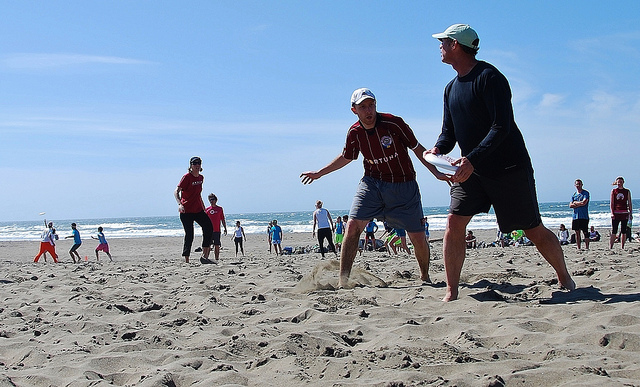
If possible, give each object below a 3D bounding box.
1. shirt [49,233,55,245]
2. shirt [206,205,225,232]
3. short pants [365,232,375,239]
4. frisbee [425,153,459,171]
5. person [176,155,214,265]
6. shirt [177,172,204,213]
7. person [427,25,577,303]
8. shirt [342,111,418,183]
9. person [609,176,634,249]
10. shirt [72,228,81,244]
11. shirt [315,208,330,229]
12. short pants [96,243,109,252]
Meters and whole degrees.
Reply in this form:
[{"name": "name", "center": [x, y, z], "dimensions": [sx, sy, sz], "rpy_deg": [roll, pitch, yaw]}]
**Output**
[{"name": "shirt", "center": [-7.984, 1.336, 17.305], "dimensions": [0.112, 0.098, 0.574], "rpy_deg": [-11, 42, -5]}, {"name": "shirt", "center": [-2.648, 0.637, 14.736], "dimensions": [0.368, 0.676, 0.759], "rpy_deg": [-4, 1, -12]}, {"name": "short pants", "center": [1.391, 1.168, 16.237], "dimensions": [0.402, 0.178, 0.496], "rpy_deg": [-2, -5, 7]}, {"name": "frisbee", "center": [1.289, -0.346, 6.210], "dimensions": [0.212, 0.176, 0.454], "rpy_deg": [-4, 1, -11]}, {"name": "person", "center": [-2.482, 0.379, 11.518], "dimensions": [0.890, 2.177, 0.732], "rpy_deg": [-3, -3, -38]}, {"name": "shirt", "center": [-2.527, -0.021, 11.403], "dimensions": [0.483, 0.801, 0.314], "rpy_deg": [-4, 1, -24]}, {"name": "person", "center": [1.831, -0.336, 6.270], "dimensions": [1.302, 2.645, 0.939], "rpy_deg": [-3, 1, 17]}, {"name": "shirt", "center": [0.755, -0.566, 7.348], "dimensions": [1.133, 0.966, 0.396], "rpy_deg": [-9, 24, 22]}, {"name": "person", "center": [6.698, 0.459, 12.976], "dimensions": [0.464, 1.329, 2.088], "rpy_deg": [-3, 1, 27]}, {"name": "shirt", "center": [-8.003, 1.391, 19.077], "dimensions": [0.208, 0.504, 1.591], "rpy_deg": [-4, 1, -22]}, {"name": "shirt", "center": [0.060, 0.653, 15.198], "dimensions": [0.339, 0.499, 0.560], "rpy_deg": [-4, 1, -1]}, {"name": "short pants", "center": [-7.030, 1.749, 18.779], "dimensions": [0.303, 0.299, 0.481], "rpy_deg": [-4, 1, -26]}]
